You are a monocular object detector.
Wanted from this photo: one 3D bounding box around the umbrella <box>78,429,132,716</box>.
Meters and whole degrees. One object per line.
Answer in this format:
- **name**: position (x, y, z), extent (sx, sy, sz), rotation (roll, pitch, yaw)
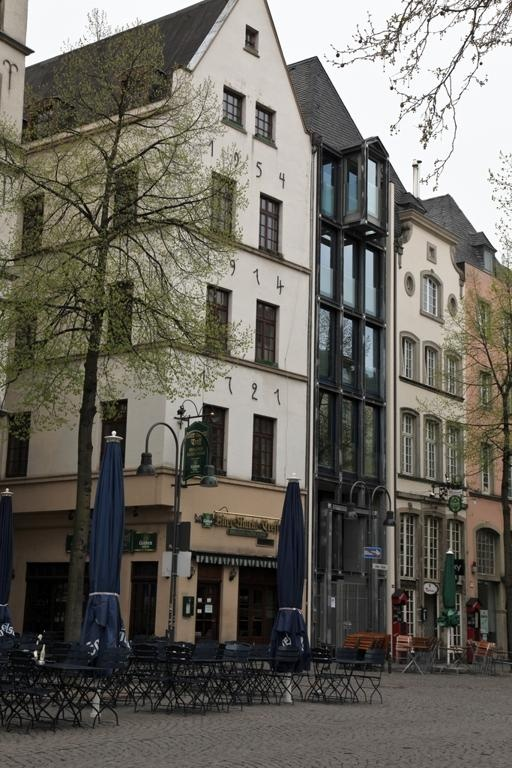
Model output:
- **umbrella**: position (-2.111, 2.566, 11.542), extent (0.614, 3.981, 1.121), rotation (4, -14, -10)
